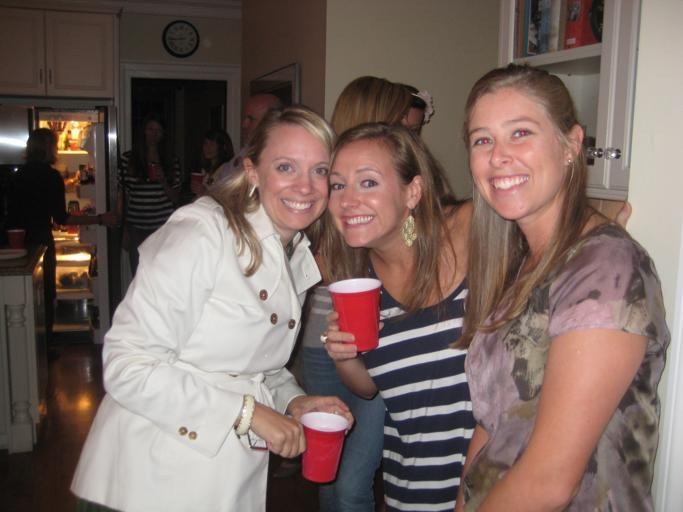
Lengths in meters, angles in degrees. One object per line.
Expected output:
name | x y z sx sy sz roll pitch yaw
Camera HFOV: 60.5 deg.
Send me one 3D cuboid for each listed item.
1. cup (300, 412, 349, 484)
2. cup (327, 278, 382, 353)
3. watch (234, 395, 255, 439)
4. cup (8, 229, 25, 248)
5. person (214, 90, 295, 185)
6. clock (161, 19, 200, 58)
cup | -0.077 0.645 2.042 0.204 0.219 0.203 3 1 0
cup | 0.034 0.209 2.171 0.223 0.262 0.234 -5 -2 0
watch | -0.283 0.498 1.784 0.028 0.102 0.099 13 28 -6
cup | -2.541 -0.130 4.544 0.137 0.167 0.145 2 1 0
person | -0.583 -0.813 4.312 0.321 0.900 0.373 22 44 17
clock | -1.937 -2.632 7.138 0.438 0.450 0.453 -14 -13 -13
